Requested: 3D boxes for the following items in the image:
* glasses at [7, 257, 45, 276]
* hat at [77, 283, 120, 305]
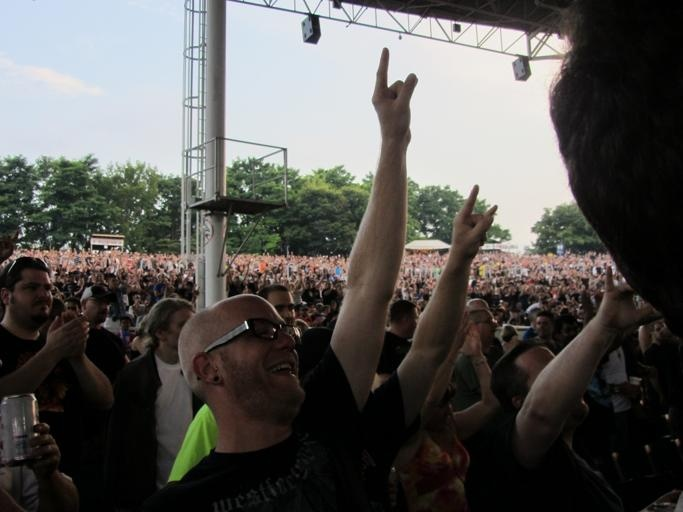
[{"bbox_3d":[-1.899,0.074,3.331,0.137,0.043,0.135,-32,-24,20],"label":"glasses"},{"bbox_3d":[-2.944,0.459,6.762,0.463,0.253,0.296,-20,-18,17],"label":"hat"}]
